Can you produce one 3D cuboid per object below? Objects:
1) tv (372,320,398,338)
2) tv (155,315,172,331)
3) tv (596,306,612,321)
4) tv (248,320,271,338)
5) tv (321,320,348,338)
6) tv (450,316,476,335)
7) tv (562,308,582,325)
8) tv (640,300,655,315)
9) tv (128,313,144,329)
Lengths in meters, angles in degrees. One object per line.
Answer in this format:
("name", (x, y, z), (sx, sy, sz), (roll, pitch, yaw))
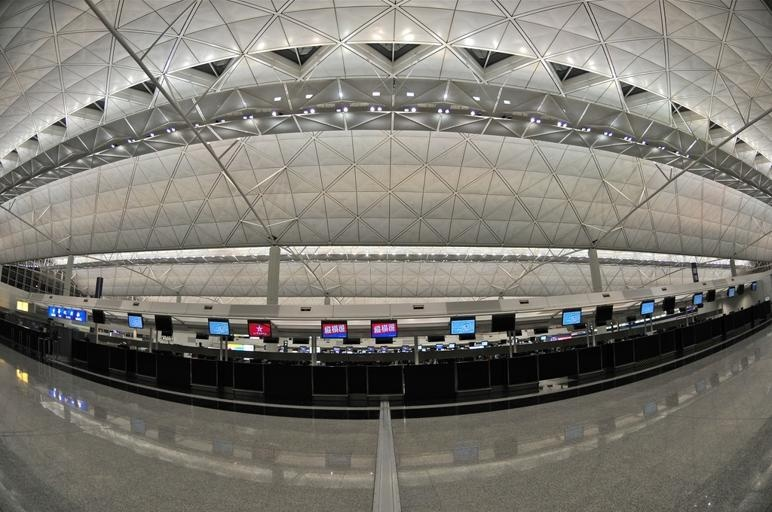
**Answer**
("tv", (-0.155, 4.623, 34.904), (1.195, 0.794, 0.150), (-1, -6, 2))
("tv", (-15.277, 4.527, 37.092), (1.109, 0.980, 0.372), (-1, -7, 1))
("tv", (14.678, 3.800, 36.369), (1.133, 1.066, 1.007), (3, -5, -14))
("tv", (-8.499, 4.803, 36.235), (1.253, 0.823, 0.167), (-1, -7, 8))
("tv", (-3.433, 4.717, 35.467), (1.742, 0.763, 1.107), (0, -39, -3))
("tv", (5.009, 4.661, 35.336), (1.771, 1.020, 1.936), (-6, -39, 5))
("tv", (12.437, 3.988, 36.406), (1.319, 0.915, 0.167), (0, 2, -24))
("tv", (18.862, 3.639, 39.162), (1.002, 0.286, 0.981), (-11, -63, -2))
("tv", (-18.036, 4.597, 38.893), (1.334, 1.254, 0.178), (-1, 0, 15))
